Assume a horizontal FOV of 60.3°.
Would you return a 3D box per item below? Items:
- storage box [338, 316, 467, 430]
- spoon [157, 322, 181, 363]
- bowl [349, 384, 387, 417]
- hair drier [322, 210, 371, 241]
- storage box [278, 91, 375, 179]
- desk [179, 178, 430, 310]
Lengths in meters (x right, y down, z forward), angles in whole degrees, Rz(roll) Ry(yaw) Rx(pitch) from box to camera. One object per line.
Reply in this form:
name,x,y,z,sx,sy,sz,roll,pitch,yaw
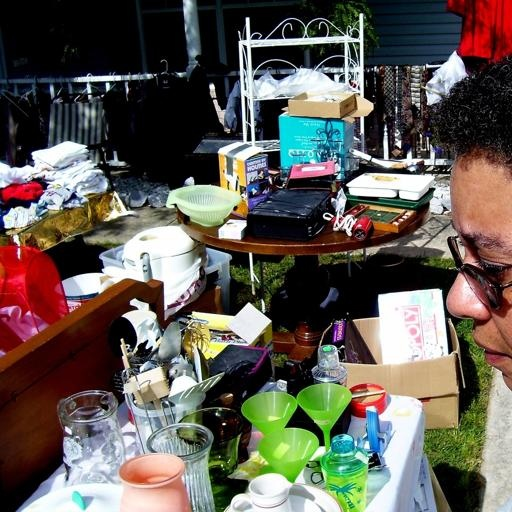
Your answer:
storage box,0.885,0.681,2.626,0.724,0.415,0.685,-2,27,5
spoon,-0.257,0.254,1.295,0.071,0.025,0.131,-11,37,13
bowl,0.374,0.480,1.480,0.117,0.042,0.112,-12,13,3
hair drier,0.568,-0.193,2.598,0.233,0.131,0.302,-16,20,-35
storage box,0.472,-0.838,3.065,0.403,0.590,0.683,9,21,38
desk,0.214,-0.161,3.190,1.549,0.735,1.376,-2,30,-14
